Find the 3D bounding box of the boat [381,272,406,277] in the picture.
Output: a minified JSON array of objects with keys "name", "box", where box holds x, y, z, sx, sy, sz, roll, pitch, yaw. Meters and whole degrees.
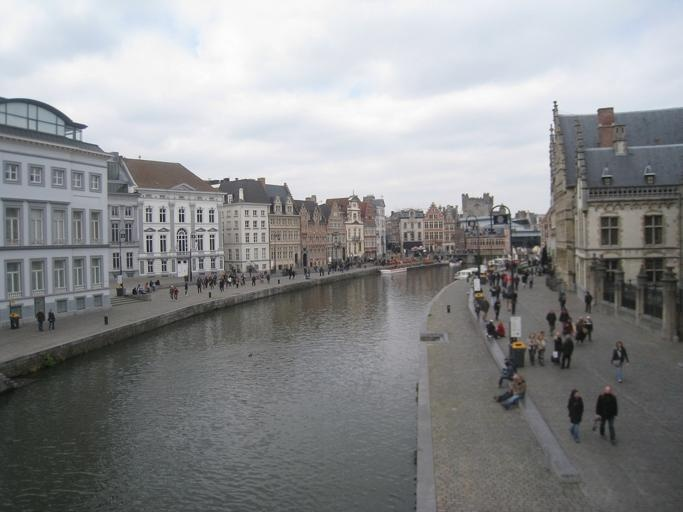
[{"name":"boat","box":[10.029,3.268,127.024,1.394,1.067,7.501,-3,-4,29]}]
